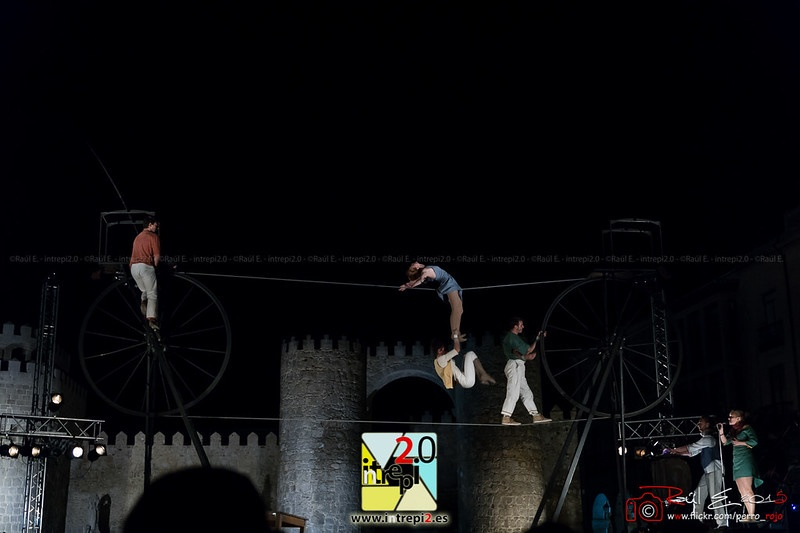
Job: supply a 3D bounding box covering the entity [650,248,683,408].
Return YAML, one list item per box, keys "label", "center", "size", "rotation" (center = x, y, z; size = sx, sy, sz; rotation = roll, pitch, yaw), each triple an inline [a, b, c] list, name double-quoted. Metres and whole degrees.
- label: "entity"
  center: [7.640, 1.976, 26.540]
  size: [1.034, 5.389, 0.906]
  rotation: [0, 8, 12]

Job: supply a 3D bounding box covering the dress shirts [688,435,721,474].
- label: "dress shirts"
  center: [7.949, 4.855, 23.421]
  size: [0.949, 1.039, 0.815]
  rotation: [-5, -19, 23]

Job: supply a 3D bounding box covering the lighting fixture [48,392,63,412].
- label: "lighting fixture"
  center: [-10.747, 4.243, 28.279]
  size: [0.346, 0.562, 0.773]
  rotation: [7, -15, -24]

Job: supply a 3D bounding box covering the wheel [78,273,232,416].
- label: "wheel"
  center: [-8.772, 2.763, 31.947]
  size: [5.677, 5.725, 0.644]
  rotation: [-8, 3, 12]

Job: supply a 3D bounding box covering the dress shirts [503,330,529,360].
- label: "dress shirts"
  center: [2.951, 2.014, 23.148]
  size: [0.574, 0.692, 0.607]
  rotation: [-1, -14, 7]

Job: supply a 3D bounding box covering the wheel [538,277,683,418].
- label: "wheel"
  center: [7.151, 2.627, 30.294]
  size: [5.406, 5.424, 1.562]
  rotation: [3, -10, -17]
